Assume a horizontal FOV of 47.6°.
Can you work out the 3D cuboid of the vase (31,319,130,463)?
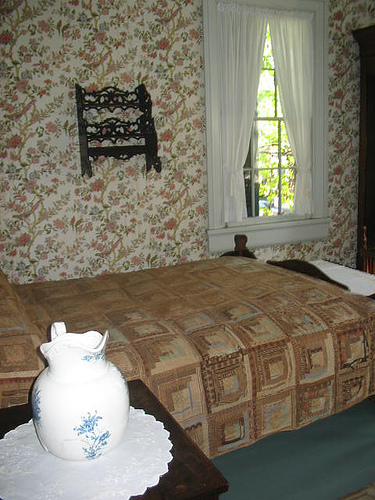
[{"bbox_3d":[-0.188,0.268,0.830,0.178,0.228,0.232,8,8,43],"label":"vase"}]
